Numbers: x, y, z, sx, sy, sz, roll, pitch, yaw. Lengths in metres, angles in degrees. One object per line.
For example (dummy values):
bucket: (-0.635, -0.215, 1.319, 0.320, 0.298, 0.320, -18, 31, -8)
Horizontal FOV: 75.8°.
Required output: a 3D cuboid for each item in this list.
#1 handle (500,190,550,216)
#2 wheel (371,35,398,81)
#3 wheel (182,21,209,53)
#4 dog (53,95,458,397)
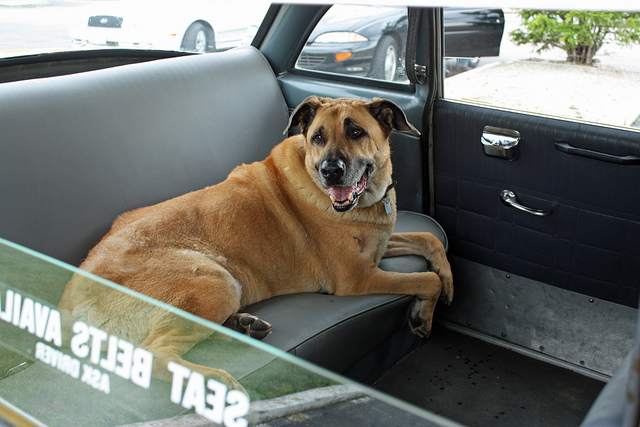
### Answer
handle: (1.488, -0.074, 2.977, 0.319, 0.129, 0.085, 33, 42, 27)
wheel: (0.528, -1.241, 3.357, 0.074, 0.272, 0.270, 5, -18, -30)
wheel: (-0.958, -1.345, 3.229, 0.065, 0.286, 0.283, 16, 27, 5)
dog: (-0.209, 0.164, 2.736, 2.704, 1.495, 1.404, -9, 4, -26)
